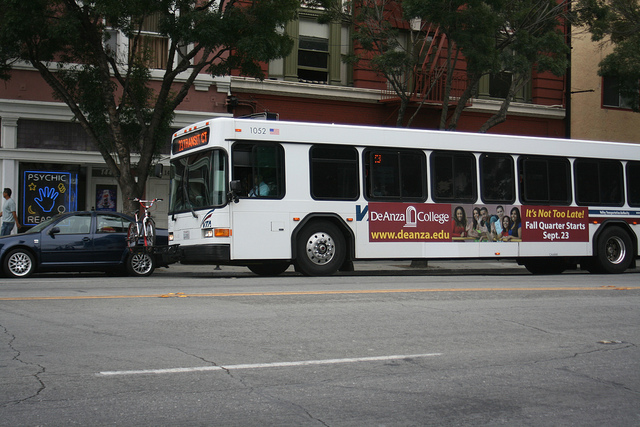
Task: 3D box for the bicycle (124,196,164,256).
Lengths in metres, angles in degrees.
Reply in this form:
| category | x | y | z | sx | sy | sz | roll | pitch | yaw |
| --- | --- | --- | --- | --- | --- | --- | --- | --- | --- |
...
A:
| category | x | y | z | sx | sy | sz | roll | pitch | yaw |
| --- | --- | --- | --- | --- | --- | --- | --- | --- | --- |
| bicycle | -4.922 | 0.327 | 19.252 | 1.055 | 1.381 | 2.159 | 2 | -4 | -35 |

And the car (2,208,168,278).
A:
| category | x | y | z | sx | sy | sz | roll | pitch | yaw |
| --- | --- | --- | --- | --- | --- | --- | --- | --- | --- |
| car | -6.252 | 0.717 | 18.784 | 3.947 | 1.508 | 1.804 | 3 | -6 | -22 |
